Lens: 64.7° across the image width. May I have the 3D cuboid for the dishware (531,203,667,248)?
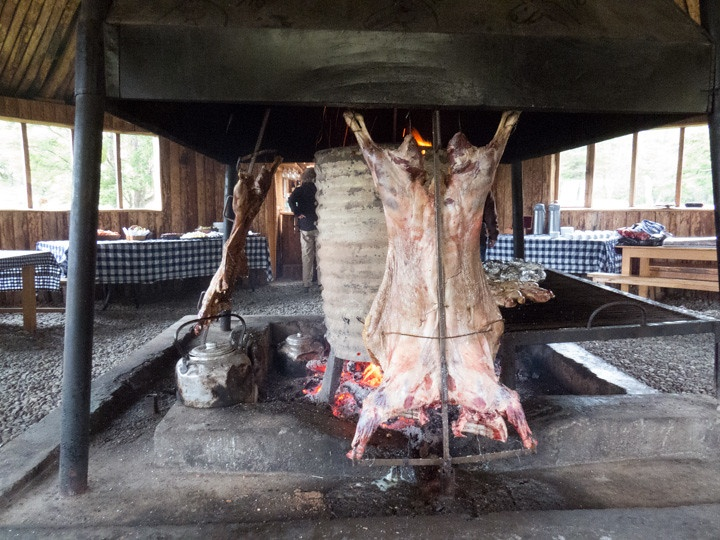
[{"bbox_3d":[3.139,-0.484,7.226,1.210,0.407,0.899,2,8,20],"label":"dishware"}]

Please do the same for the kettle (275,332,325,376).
[{"bbox_3d":[-0.525,0.738,5.133,0.432,0.408,0.418,-3,8,-18],"label":"kettle"}]

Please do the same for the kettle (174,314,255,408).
[{"bbox_3d":[-1.026,0.622,4.031,0.515,0.624,0.526,-7,8,-21],"label":"kettle"}]
